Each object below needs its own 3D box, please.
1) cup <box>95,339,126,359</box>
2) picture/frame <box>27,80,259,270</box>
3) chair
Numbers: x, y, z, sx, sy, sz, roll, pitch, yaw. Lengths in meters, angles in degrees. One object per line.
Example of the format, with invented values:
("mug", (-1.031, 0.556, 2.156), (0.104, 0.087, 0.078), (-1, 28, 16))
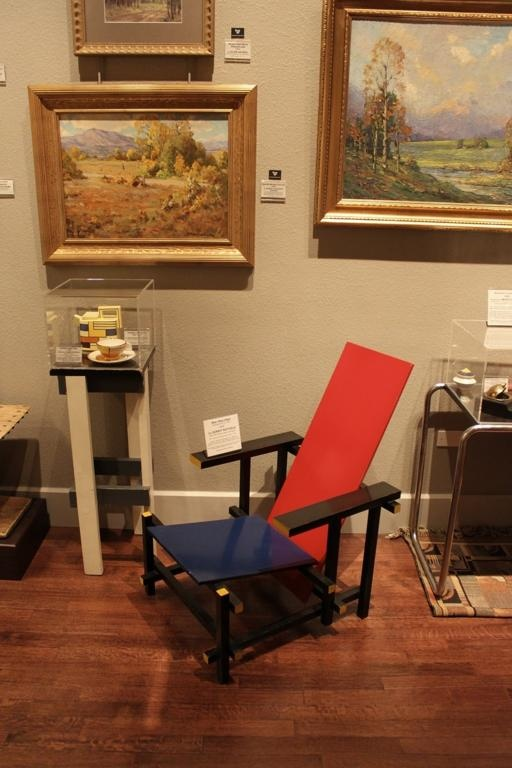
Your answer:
("cup", (-0.487, -0.121, 2.018), (0.071, 0.048, 0.073), (2, 23, -1))
("picture/frame", (-0.393, -0.773, 2.157), (0.669, 0.524, 0.037), (0, 24, -1))
("chair", (0.057, 0.223, 2.275), (1.074, 1.063, 0.855), (-9, 24, -31))
